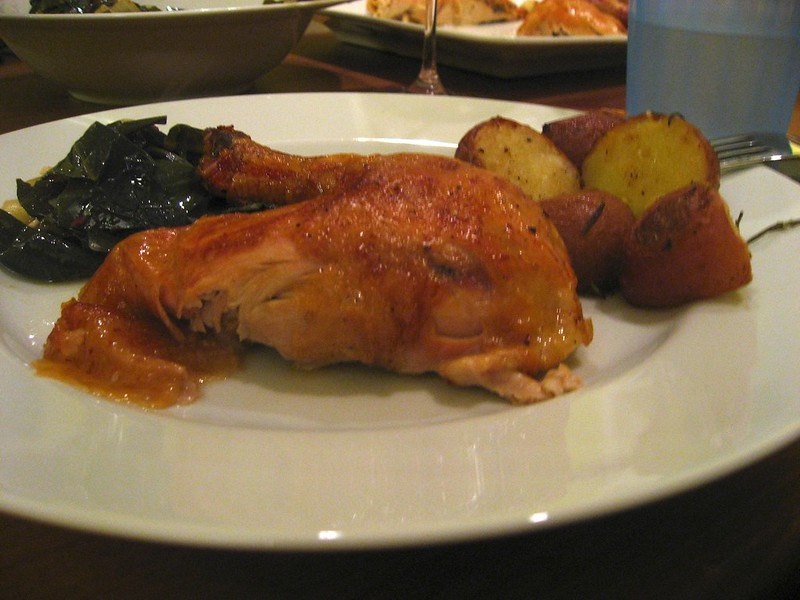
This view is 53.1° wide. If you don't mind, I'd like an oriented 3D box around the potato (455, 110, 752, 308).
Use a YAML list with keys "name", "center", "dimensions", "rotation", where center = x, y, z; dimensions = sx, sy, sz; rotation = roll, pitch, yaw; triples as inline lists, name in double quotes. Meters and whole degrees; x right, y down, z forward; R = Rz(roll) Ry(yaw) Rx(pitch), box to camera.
- name: "potato"
  center: [0.394, -0.171, 1.432]
  dimensions: [0.418, 0.163, 0.399]
  rotation: [-9, 36, -10]
